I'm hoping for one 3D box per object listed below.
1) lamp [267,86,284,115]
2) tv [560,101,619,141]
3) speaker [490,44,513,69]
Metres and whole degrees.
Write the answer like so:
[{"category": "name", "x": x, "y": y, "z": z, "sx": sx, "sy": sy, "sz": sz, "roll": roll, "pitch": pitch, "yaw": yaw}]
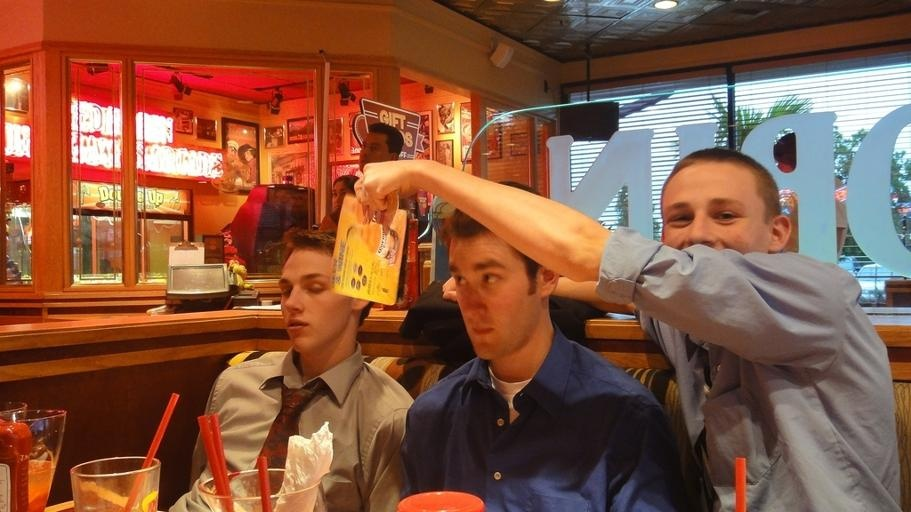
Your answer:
[{"category": "lamp", "x": -2.063, "y": -1.767, "z": 8.079, "sx": 0.123, "sy": 0.353, "sz": 0.252, "roll": 7, "pitch": 10, "yaw": -2}, {"category": "tv", "x": 0.762, "y": -0.767, "z": 3.991, "sx": 0.365, "sy": 0.237, "sz": 0.035, "roll": 0, "pitch": -1, "yaw": -4}, {"category": "speaker", "x": 0.644, "y": -2.724, "z": 9.641, "sx": 0.287, "sy": 0.242, "sz": 0.338, "roll": 13, "pitch": 3, "yaw": 14}]
